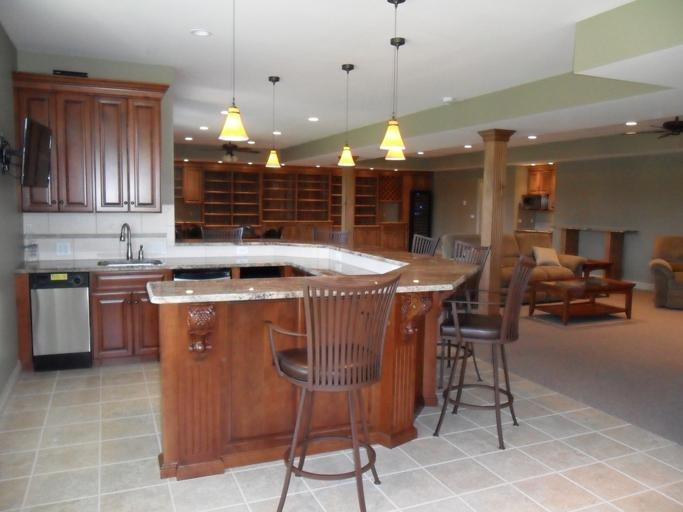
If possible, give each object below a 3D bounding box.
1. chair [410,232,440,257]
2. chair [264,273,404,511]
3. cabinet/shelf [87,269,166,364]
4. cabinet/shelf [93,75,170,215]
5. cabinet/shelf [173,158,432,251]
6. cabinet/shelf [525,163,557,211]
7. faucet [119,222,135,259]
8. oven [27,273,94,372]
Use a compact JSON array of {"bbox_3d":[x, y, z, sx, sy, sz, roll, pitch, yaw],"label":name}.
[{"bbox_3d":[1.008,-0.143,6.350,0.218,0.230,0.649,0,13,-5],"label":"chair"},{"bbox_3d":[-0.078,0.809,3.320,0.783,1.452,0.823,4,15,11],"label":"chair"},{"bbox_3d":[-2.294,0.612,5.464,0.813,0.958,0.522,0,-1,-33],"label":"cabinet/shelf"},{"bbox_3d":[-2.233,-1.146,5.463,0.784,1.319,0.189,-3,16,-16],"label":"cabinet/shelf"},{"bbox_3d":[-0.908,-1.170,13.038,6.281,2.370,1.583,-5,16,-24],"label":"cabinet/shelf"},{"bbox_3d":[4.845,-1.729,12.691,0.305,1.082,0.990,-4,15,-17],"label":"cabinet/shelf"},{"bbox_3d":[-2.377,-0.169,5.690,0.133,0.384,0.287,-5,16,-22],"label":"faucet"},{"bbox_3d":[-2.760,0.645,5.333,0.671,0.940,0.609,-2,-4,-10],"label":"oven"}]
